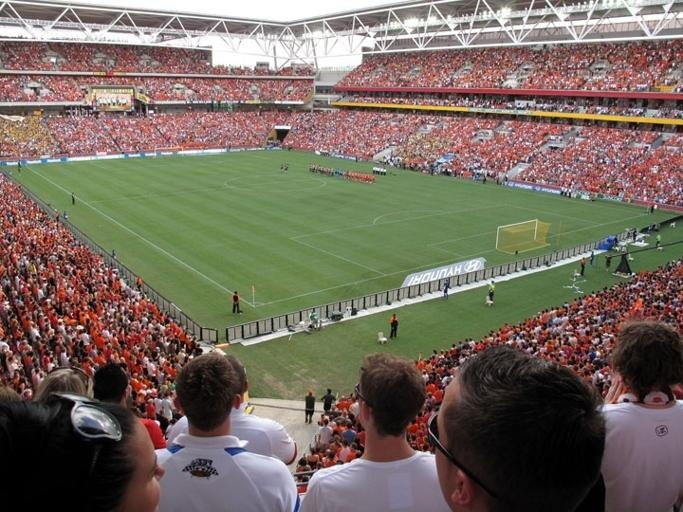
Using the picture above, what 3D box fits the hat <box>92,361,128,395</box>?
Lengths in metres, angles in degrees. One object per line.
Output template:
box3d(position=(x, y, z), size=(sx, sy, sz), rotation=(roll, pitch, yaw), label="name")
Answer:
box3d(position=(-2.752, 1.476, 7.728), size=(0.322, 0.376, 0.386), rotation=(2, 15, -7), label="hat")
